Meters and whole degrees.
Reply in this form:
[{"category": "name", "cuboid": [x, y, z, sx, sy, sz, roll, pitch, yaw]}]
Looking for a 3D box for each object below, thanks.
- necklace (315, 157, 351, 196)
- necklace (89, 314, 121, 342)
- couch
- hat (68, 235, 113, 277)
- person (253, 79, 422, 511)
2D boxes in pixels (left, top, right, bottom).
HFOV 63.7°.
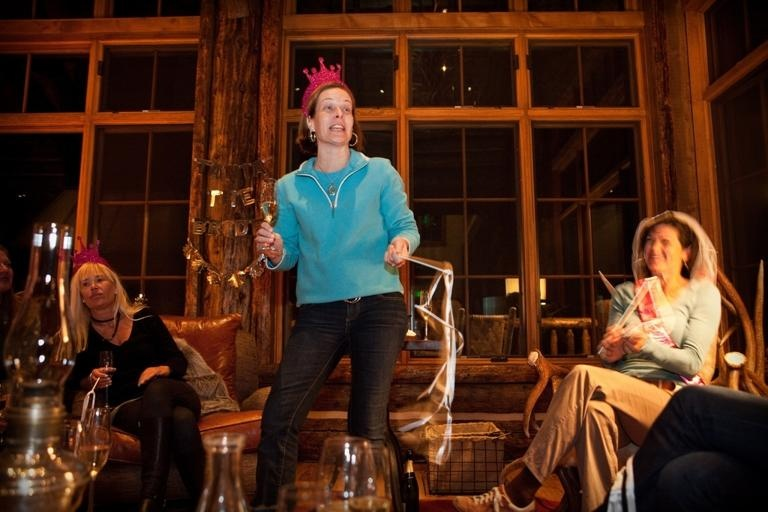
[{"category": "necklace", "cuboid": [-0.266, -0.388, 2.973, 0.148, 0.145, 0.064, -1, -4, 6]}, {"category": "necklace", "cuboid": [-1.702, 0.432, 3.754, 0.157, 0.129, 0.143, -3, 2, 9]}, {"category": "couch", "cuboid": [-1.299, 0.963, 4.194, 1.209, 1.162, 1.147, 2, -16, -12]}, {"category": "hat", "cuboid": [-1.927, -0.005, 4.049, 0.239, 0.260, 0.243, -1, -11, -12]}, {"category": "person", "cuboid": [-0.226, 0.126, 2.964, 0.754, 2.000, 0.412, 2, -2, 3]}]
